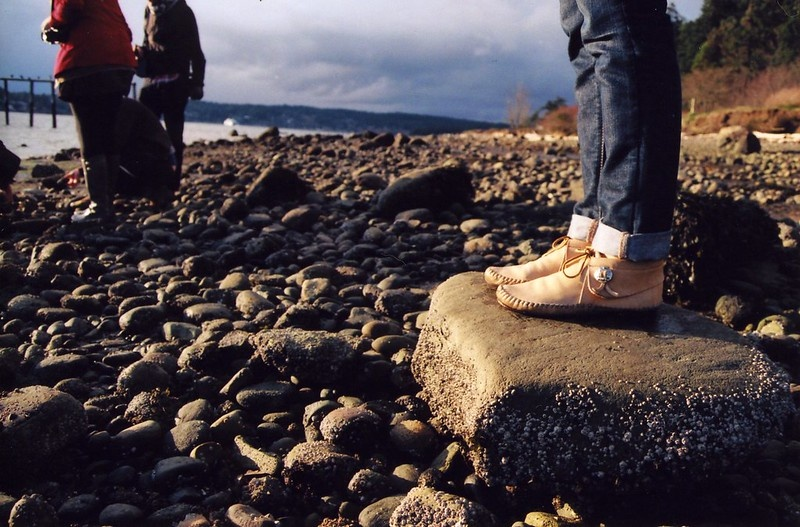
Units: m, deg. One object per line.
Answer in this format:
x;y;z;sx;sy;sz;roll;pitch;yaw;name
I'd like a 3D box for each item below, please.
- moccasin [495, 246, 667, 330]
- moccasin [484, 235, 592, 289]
0.932;0.135;3.805;0.833;0.366;0.344;0;5;2;moccasin
0.765;-0.016;4.007;0.634;0.257;0.227;-11;24;11;moccasin
